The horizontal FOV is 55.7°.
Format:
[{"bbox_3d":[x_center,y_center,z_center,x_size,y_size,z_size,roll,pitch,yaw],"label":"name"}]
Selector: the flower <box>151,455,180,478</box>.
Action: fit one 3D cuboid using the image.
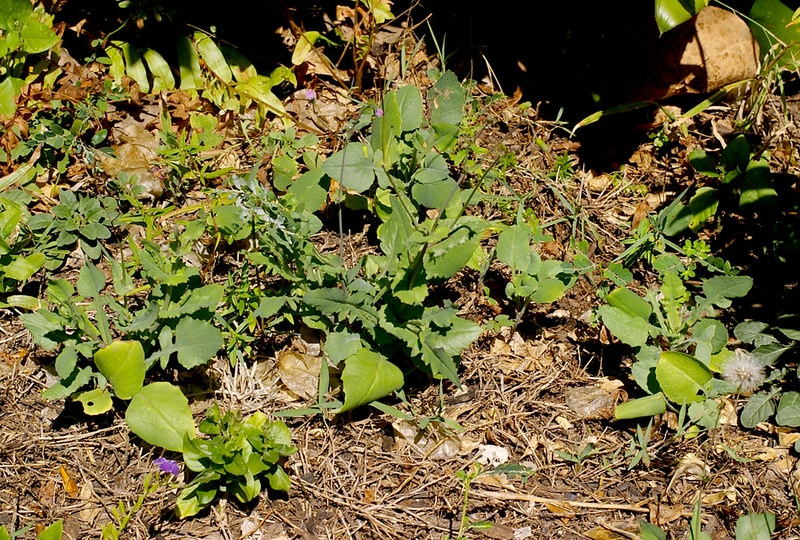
[{"bbox_3d":[-0.992,0.834,3.224,0.087,0.086,0.042,24,89,16],"label":"flower"}]
